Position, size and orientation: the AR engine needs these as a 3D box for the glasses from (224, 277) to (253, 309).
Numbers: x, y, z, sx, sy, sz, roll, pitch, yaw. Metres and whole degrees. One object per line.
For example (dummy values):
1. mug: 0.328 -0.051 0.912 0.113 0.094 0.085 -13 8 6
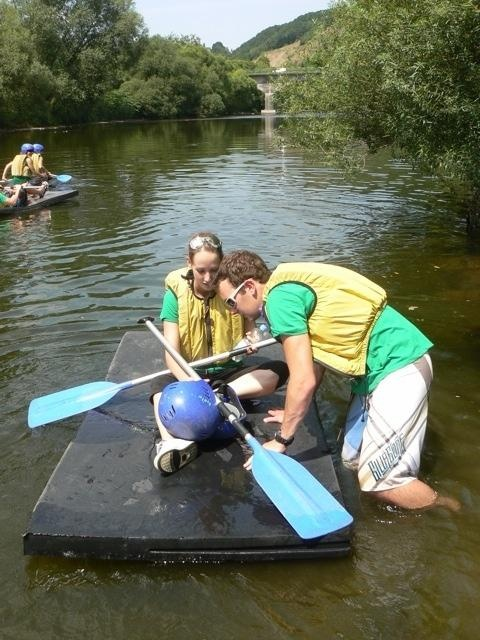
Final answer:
1. glasses: -0.032 -0.126 2.803 0.039 0.126 0.133 43 75 15

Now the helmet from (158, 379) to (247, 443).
1. helmet: -0.192 0.507 3.088 0.443 0.211 0.305 14 45 -40

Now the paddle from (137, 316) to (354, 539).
1. paddle: -0.066 0.441 3.021 0.316 0.079 1.717 -19 37 -26

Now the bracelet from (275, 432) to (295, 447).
1. bracelet: 0.215 0.606 2.879 0.086 0.032 0.084 22 3 -27

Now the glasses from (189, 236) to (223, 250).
1. glasses: -0.206 -0.447 3.264 0.183 0.082 0.106 -4 17 -4

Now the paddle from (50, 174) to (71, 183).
1. paddle: -4.419 -3.444 13.958 0.406 0.228 1.909 -8 17 -17

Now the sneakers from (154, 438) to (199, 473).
1. sneakers: -0.338 0.698 2.952 0.126 0.101 0.296 22 10 32

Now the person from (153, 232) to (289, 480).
1. person: -0.214 0.112 3.351 0.826 1.070 1.227 7 20 21
